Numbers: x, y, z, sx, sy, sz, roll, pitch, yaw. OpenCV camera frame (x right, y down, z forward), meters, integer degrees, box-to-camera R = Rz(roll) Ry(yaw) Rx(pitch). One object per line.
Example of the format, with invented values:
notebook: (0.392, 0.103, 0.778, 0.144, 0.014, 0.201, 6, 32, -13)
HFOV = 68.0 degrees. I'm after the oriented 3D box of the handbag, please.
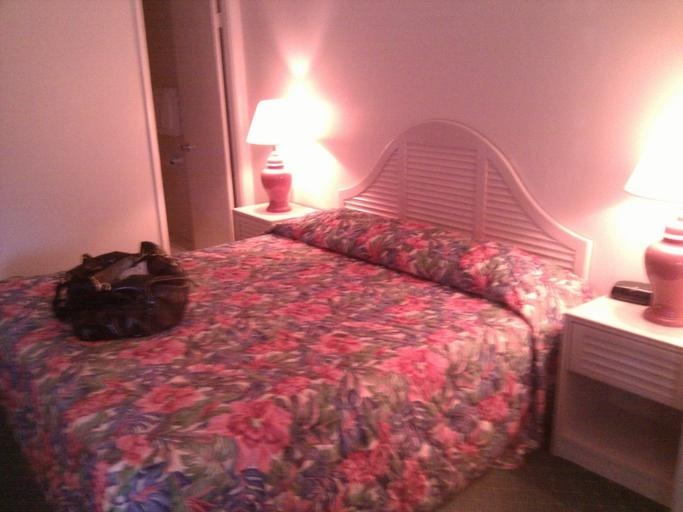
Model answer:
handbag: (-0.873, 0.161, 2.159, 0.385, 0.209, 0.462, 3, 15, 5)
